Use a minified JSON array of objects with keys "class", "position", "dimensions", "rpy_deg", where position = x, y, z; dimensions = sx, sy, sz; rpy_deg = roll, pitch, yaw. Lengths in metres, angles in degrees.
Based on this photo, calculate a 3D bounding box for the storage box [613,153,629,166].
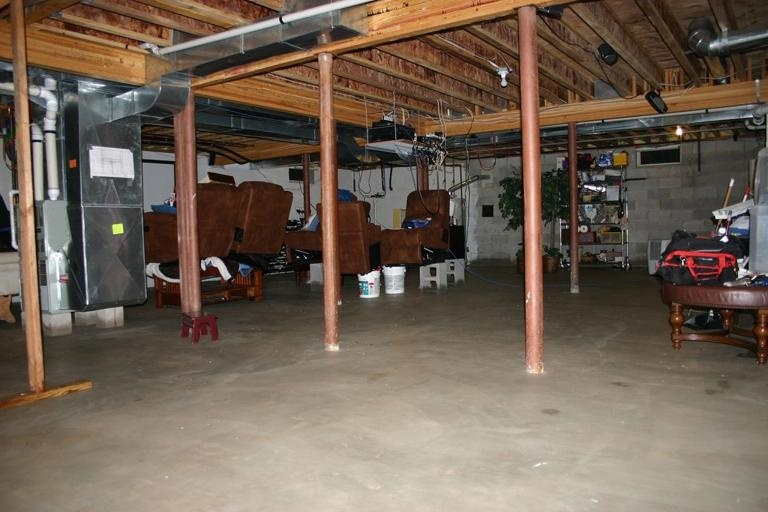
[{"class":"storage box","position":[5.591,-2.298,13.276],"dimensions":[0.313,0.360,0.486],"rpy_deg":[-2,5,21]}]

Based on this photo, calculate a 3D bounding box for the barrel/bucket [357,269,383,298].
[{"class":"barrel/bucket","position":[-0.283,0.450,9.092],"dimensions":[0.449,0.346,0.443],"rpy_deg":[1,5,0]}]

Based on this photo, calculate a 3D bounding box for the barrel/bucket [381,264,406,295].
[{"class":"barrel/bucket","position":[0.189,0.423,9.444],"dimensions":[0.512,0.416,0.456],"rpy_deg":[0,-4,-19]}]

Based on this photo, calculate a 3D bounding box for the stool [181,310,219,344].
[{"class":"stool","position":[-2.066,0.771,6.216],"dimensions":[0.383,0.245,0.368],"rpy_deg":[-2,5,-37]}]

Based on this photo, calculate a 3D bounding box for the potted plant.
[{"class":"potted plant","position":[3.556,-0.885,13.189],"dimensions":[1.519,2.406,2.315],"rpy_deg":[-3,5,15]}]

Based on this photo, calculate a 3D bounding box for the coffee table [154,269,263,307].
[{"class":"coffee table","position":[-2.597,0.491,8.741],"dimensions":[0.448,0.486,1.236],"rpy_deg":[1,8,38]}]
